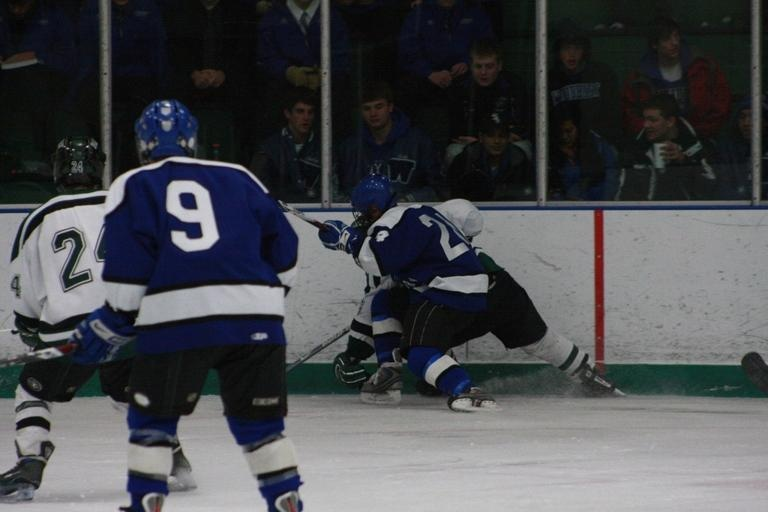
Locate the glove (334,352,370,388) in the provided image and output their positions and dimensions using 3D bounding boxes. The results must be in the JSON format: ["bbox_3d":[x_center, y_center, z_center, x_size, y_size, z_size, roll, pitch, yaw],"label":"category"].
[{"bbox_3d":[-0.245,0.822,7.275,0.297,0.195,0.132,19,3,13],"label":"glove"}]

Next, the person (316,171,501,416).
[{"bbox_3d":[0.252,0.221,7.001,1.246,1.559,0.555,3,8,33],"label":"person"}]

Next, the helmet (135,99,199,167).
[{"bbox_3d":[-1.037,-0.609,4.954,0.291,0.271,0.320,0,23,-2],"label":"helmet"}]

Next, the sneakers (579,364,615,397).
[{"bbox_3d":[1.521,0.892,7.251,0.264,0.130,0.101,39,23,-22],"label":"sneakers"}]

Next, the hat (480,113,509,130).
[{"bbox_3d":[0.837,-1.027,7.723,0.159,0.137,0.036,3,-2,0],"label":"hat"}]

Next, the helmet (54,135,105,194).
[{"bbox_3d":[-1.679,-0.526,5.603,0.295,0.331,0.333,0,22,-7],"label":"helmet"}]

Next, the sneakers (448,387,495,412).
[{"bbox_3d":[0.586,0.953,6.749,0.405,0.172,0.133,-4,-3,4],"label":"sneakers"}]
